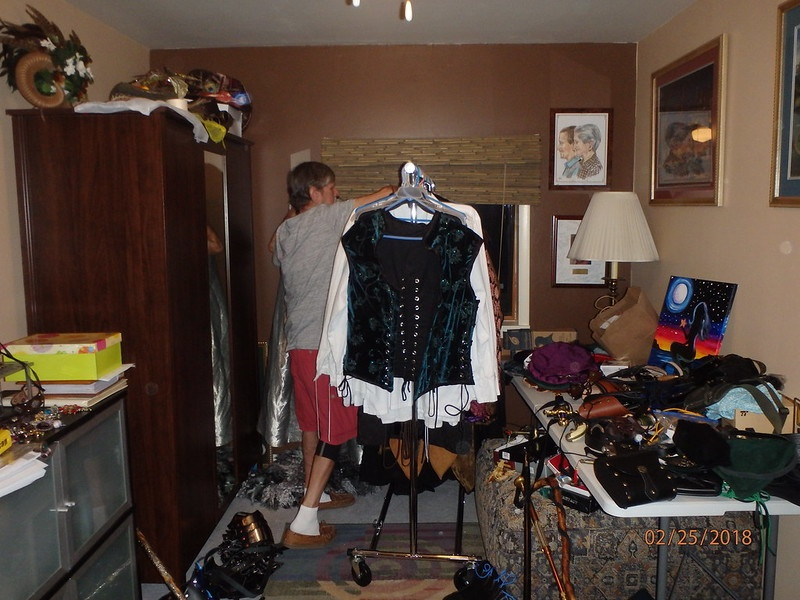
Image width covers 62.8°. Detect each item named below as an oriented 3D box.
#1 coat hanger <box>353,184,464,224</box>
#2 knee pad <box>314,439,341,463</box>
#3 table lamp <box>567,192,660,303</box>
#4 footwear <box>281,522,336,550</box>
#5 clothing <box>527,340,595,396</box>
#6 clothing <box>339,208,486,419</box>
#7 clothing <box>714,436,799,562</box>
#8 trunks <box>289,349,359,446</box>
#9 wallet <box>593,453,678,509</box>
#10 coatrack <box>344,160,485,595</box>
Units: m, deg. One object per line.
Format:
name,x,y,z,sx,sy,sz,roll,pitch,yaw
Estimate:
coat hanger,0.056,-0.445,3.043,0.413,0.121,0.051,0,25,1
knee pad,-0.373,0.788,3.468,0.115,0.099,0.114,20,-6,-3
table lamp,1.268,-0.203,3.829,0.478,0.873,0.475,2,-3,11
footwear,-0.491,1.262,3.529,0.227,0.096,0.123,0,-1,-9
clothing,0.857,0.344,3.438,0.256,0.076,0.271,-15,31,0
clothing,0.068,0.028,2.894,0.878,1.191,0.127,1,7,1
clothing,1.290,0.658,2.308,0.245,0.263,0.093,5,1,13
trunks,-0.377,0.569,3.541,0.307,0.571,0.401,17,-24,-40
wallet,0.894,0.672,2.470,0.267,0.139,0.179,-4,12,-7
coatrack,0.054,0.338,3.060,0.723,1.803,0.417,4,16,11
